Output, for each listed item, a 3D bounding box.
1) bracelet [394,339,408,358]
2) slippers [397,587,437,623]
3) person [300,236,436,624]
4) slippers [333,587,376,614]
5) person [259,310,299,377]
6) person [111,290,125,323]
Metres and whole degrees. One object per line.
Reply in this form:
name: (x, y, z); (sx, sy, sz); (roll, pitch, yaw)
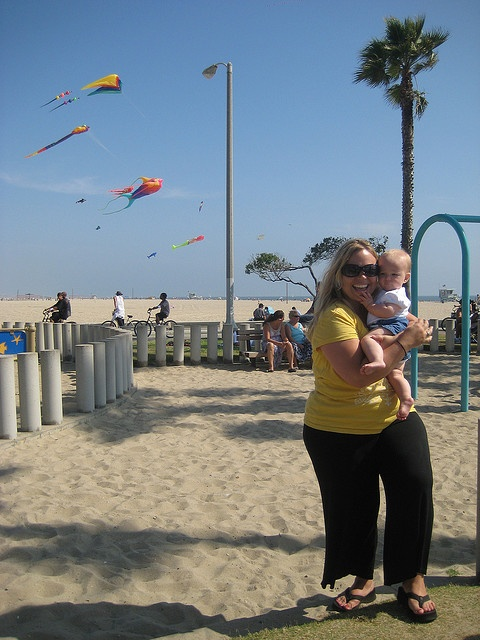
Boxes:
bracelet: (0.753, 0.128, 3.067); (0.072, 0.080, 0.077); (-11, 13, -35)
slippers: (0.836, 1.351, 3.094); (0.076, 0.070, 0.204); (0, -7, -11)
person: (0.629, 0.497, 3.102); (0.617, 1.762, 0.365); (2, 4, -4)
slippers: (0.575, 1.403, 3.279); (0.238, 0.058, 0.088); (8, -10, -40)
person: (0.777, 0.390, 12.649); (0.633, 1.123, 0.955); (2, 4, 0)
person: (-3.856, -0.338, 20.947); (0.371, 1.135, 1.863); (1, 4, -11)
